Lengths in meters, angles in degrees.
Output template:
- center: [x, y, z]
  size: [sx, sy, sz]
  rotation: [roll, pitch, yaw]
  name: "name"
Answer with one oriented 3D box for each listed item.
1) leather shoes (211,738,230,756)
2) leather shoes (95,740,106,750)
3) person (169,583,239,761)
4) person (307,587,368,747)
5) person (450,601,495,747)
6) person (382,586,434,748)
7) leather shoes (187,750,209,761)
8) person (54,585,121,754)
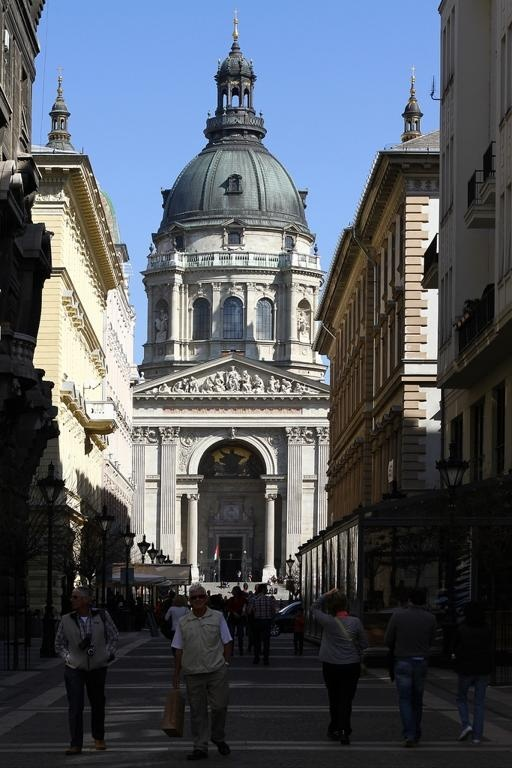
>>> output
- center: [-0.307, 3.150, 13.213]
  size: [0.136, 0.137, 0.288]
  rotation: [0, -19, -1]
  name: "leather shoes"
- center: [-1.413, 3.235, 13.732]
  size: [0.096, 0.118, 0.302]
  rotation: [1, -19, -6]
  name: "leather shoes"
- center: [-0.484, 2.500, 13.251]
  size: [0.499, 1.525, 0.763]
  rotation: [1, -15, -4]
  name: "person"
- center: [0.778, 2.682, 14.593]
  size: [0.510, 1.543, 0.907]
  rotation: [-1, -15, 2]
  name: "person"
- center: [2.031, 2.697, 14.426]
  size: [0.353, 1.364, 0.595]
  rotation: [-3, -15, 9]
  name: "person"
- center: [1.469, 2.633, 14.430]
  size: [0.491, 1.591, 0.951]
  rotation: [-1, -15, 0]
  name: "person"
- center: [-0.501, 3.109, 12.858]
  size: [0.159, 0.098, 0.079]
  rotation: [7, -6, -19]
  name: "leather shoes"
- center: [-1.588, 2.586, 13.866]
  size: [0.502, 1.585, 0.924]
  rotation: [-5, -16, 17]
  name: "person"
